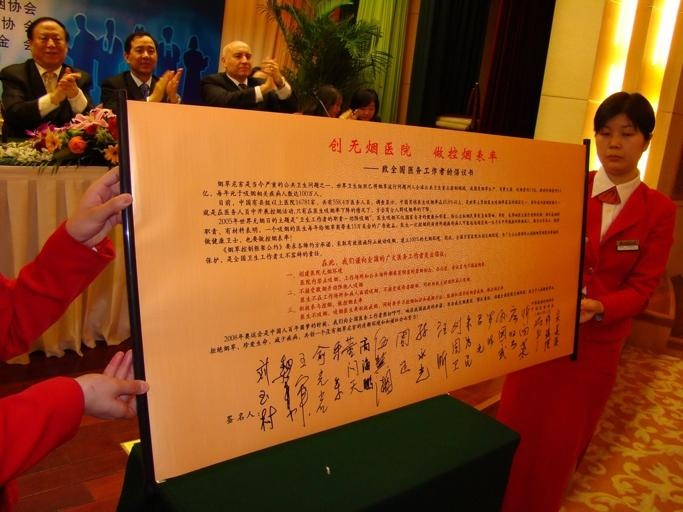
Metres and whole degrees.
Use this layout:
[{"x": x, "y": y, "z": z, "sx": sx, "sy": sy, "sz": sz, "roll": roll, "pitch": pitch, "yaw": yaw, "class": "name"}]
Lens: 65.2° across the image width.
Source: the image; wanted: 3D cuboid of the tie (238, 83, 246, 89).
[{"x": -0.768, "y": -1.326, "z": 4.150, "sx": 0.050, "sy": 0.052, "sz": 0.011, "roll": 2, "pitch": -3, "yaw": -45, "class": "tie"}]

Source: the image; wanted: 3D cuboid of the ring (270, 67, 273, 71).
[{"x": -0.494, "y": -1.337, "z": 3.826, "sx": 0.027, "sy": 0.023, "sz": 0.006, "roll": -11, "pitch": 19, "yaw": -40, "class": "ring"}]

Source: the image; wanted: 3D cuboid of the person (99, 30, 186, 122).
[{"x": -1.502, "y": -1.352, "z": 3.879, "sx": 0.462, "sy": 0.529, "sz": 2.179, "roll": -4, "pitch": 17, "yaw": -22, "class": "person"}]

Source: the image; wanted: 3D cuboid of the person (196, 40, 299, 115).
[{"x": -0.702, "y": -1.374, "z": 4.085, "sx": 0.666, "sy": 0.489, "sz": 0.602, "roll": 4, "pitch": 15, "yaw": 5, "class": "person"}]
